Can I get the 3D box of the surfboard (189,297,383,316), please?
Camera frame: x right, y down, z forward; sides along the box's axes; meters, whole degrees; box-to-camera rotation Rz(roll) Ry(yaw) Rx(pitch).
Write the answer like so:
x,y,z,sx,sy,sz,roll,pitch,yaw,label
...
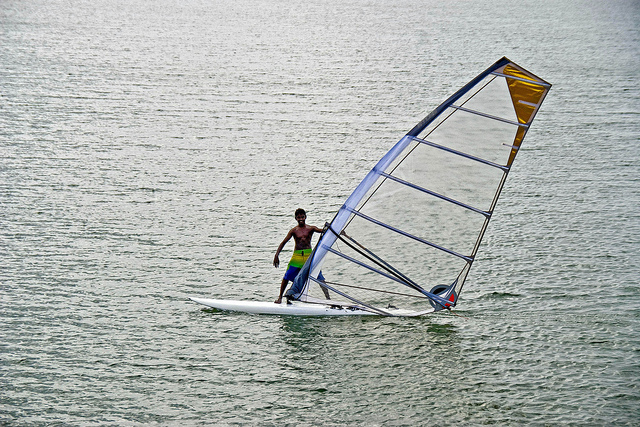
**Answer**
x,y,z,sx,sy,sz,roll,pitch,yaw,label
-1.106,3.387,38.794,6.849,0.312,0.559,1,34,3,surfboard
